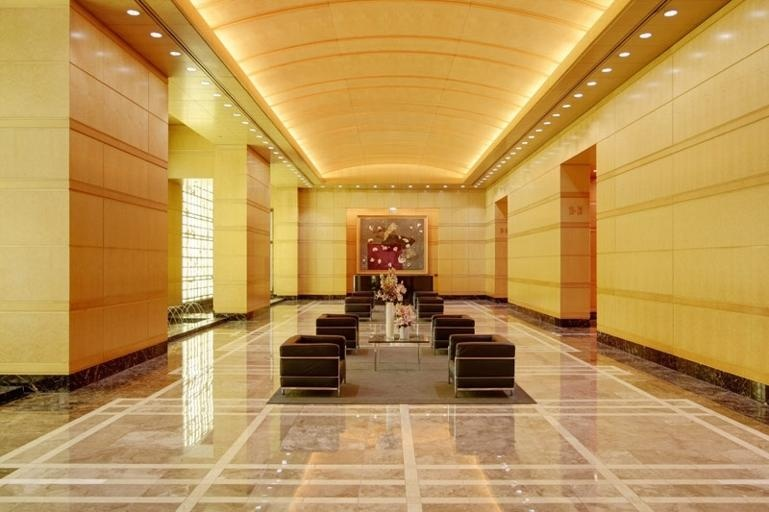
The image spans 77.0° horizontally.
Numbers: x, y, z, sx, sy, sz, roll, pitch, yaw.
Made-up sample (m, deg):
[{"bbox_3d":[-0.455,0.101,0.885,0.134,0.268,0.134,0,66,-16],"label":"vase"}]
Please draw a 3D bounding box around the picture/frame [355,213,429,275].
[{"bbox_3d":[0.546,-0.778,29.722,4.127,3.521,0.733,0,8,-1],"label":"picture/frame"}]

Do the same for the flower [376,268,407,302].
[{"bbox_3d":[0.101,0.923,14.235,0.965,0.957,0.882,1,-4,-3],"label":"flower"}]

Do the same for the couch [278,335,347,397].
[{"bbox_3d":[-1.505,2.316,10.358,1.387,0.914,1.282,0,-3,0],"label":"couch"}]

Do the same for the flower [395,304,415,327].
[{"bbox_3d":[0.591,1.594,12.787,0.618,0.493,0.555,1,-5,-12],"label":"flower"}]

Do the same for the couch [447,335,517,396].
[{"bbox_3d":[2.010,2.326,10.473,1.447,1.056,1.478,0,0,-3],"label":"couch"}]
